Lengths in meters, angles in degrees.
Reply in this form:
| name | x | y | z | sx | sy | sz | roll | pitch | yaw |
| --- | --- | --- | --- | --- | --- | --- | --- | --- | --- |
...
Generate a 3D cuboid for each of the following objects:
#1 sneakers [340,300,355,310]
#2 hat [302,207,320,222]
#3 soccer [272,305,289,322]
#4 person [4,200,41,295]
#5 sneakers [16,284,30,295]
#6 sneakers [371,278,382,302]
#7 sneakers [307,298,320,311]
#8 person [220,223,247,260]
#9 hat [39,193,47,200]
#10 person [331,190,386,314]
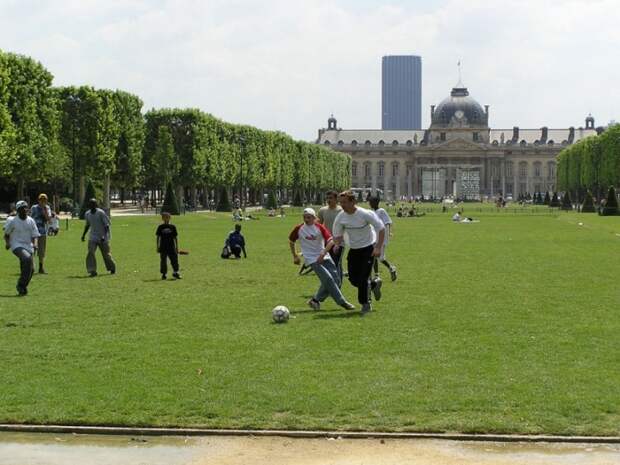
| name | x | y | z | sx | sy | sz | roll | pitch | yaw |
| --- | --- | --- | --- | --- | --- | --- | --- | --- | --- |
| sneakers | 0.688 | 1.336 | 17.769 | 0.117 | 0.162 | 0.334 | -6 | 15 | -30 |
| hat | -0.011 | -0.335 | 17.694 | 0.194 | 0.178 | 0.332 | 2 | -2 | 5 |
| soccer | -0.501 | 1.438 | 16.961 | 0.242 | 0.289 | 0.267 | 1 | -34 | -2 |
| person | -5.947 | 0.361 | 20.008 | 0.654 | 1.863 | 1.170 | -3 | 10 | -17 |
| sneakers | -5.902 | 1.162 | 19.826 | 0.277 | 0.290 | 0.174 | 0 | 0 | 35 |
| sneakers | 1.299 | 1.105 | 18.717 | 0.155 | 0.513 | 0.197 | 2 | 42 | 10 |
| sneakers | 0.088 | 1.346 | 18.007 | 0.149 | 0.116 | 0.349 | -27 | -42 | 5 |
| person | -2.175 | 0.279 | 28.327 | 0.671 | 1.022 | 1.172 | 1 | 10 | 7 |
| hat | -6.233 | -0.833 | 22.591 | 0.230 | 0.136 | 0.334 | 7 | -2 | -17 |
| person | 0.870 | 0.375 | 17.180 | 1.033 | 2.296 | 0.884 | 4 | 11 | 20 |
